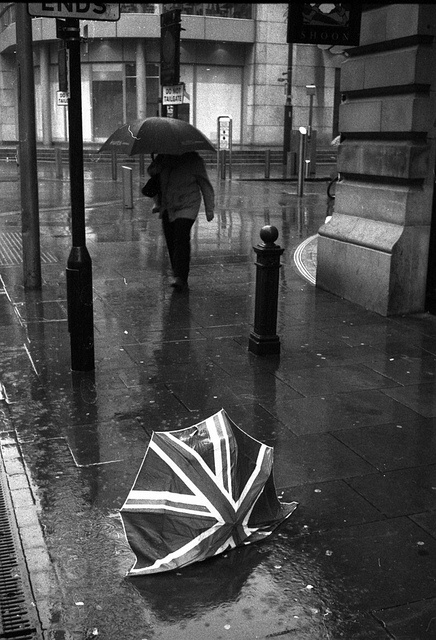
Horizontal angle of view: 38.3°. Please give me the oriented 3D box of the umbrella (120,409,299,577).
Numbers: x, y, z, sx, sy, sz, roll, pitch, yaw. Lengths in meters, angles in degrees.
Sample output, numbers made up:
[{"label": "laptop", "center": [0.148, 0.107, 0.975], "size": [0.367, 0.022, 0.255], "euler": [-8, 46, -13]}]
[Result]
[{"label": "umbrella", "center": [-0.063, 0.701, 2.710], "size": [0.712, 0.459, 0.566], "euler": [-3, 15, -15]}]

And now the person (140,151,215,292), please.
[{"label": "person", "center": [-0.534, -1.401, 8.179], "size": [0.752, 2.255, 0.724], "euler": [-2, -22, 2]}]

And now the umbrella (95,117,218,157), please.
[{"label": "umbrella", "center": [-0.717, -2.147, 7.435], "size": [0.744, 0.318, 0.868], "euler": [2, 24, 8]}]
